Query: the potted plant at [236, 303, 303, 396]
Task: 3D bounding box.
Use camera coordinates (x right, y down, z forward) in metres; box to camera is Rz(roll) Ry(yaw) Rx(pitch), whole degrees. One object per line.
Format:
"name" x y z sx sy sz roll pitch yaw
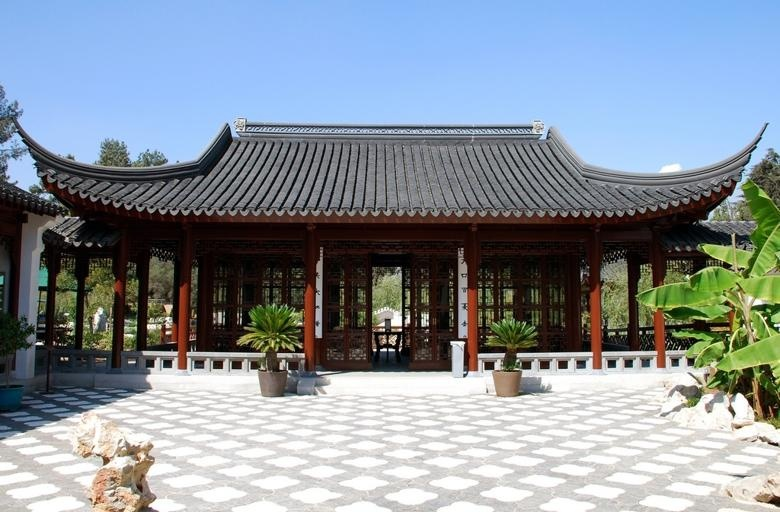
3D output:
"potted plant" -2.373 1.854 11.854 0.989 1.785 1.597 1 -8 -13

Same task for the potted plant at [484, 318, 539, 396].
"potted plant" 2.400 1.978 11.687 0.919 1.515 0.498 -2 -8 7

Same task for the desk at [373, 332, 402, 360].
"desk" -0.040 2.375 16.060 0.729 0.768 2.952 -1 -7 1

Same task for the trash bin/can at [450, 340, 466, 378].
"trash bin/can" 1.411 2.095 12.146 0.273 0.736 0.304 -1 -8 4
